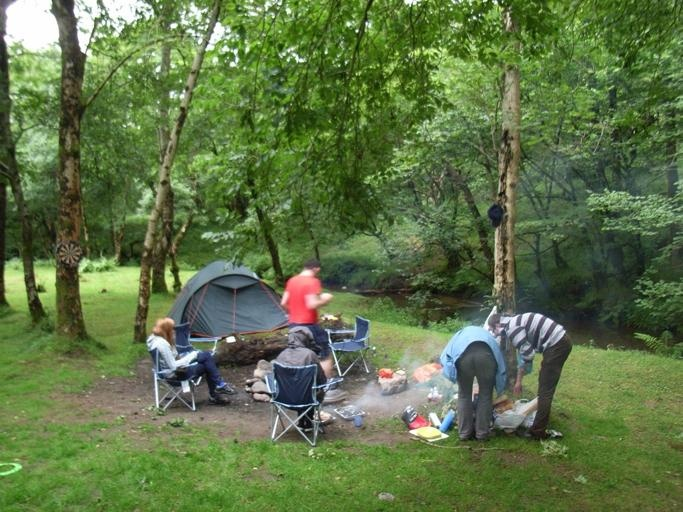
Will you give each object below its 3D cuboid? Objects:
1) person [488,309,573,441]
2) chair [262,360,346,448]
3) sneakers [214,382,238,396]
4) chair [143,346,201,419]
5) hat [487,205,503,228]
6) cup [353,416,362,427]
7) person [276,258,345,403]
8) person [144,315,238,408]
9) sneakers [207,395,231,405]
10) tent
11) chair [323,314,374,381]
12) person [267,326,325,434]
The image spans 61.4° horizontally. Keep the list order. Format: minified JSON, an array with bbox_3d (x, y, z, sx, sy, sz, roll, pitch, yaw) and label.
[{"bbox_3d":[3.023,1.872,9.355,1.175,1.961,0.654,8,15,25],"label":"person"},{"bbox_3d":[-0.745,2.406,9.611,1.014,1.398,0.929,4,14,7],"label":"chair"},{"bbox_3d":[-2.168,2.549,11.045,0.501,0.235,0.180,6,0,-17],"label":"sneakers"},{"bbox_3d":[-3.121,2.303,10.720,0.838,1.100,0.867,2,-3,-7],"label":"chair"},{"bbox_3d":[2.841,-0.753,10.650,0.305,0.463,0.173,2,14,0],"label":"hat"},{"bbox_3d":[0.281,2.895,10.079,0.151,0.151,0.145,1,-3,0],"label":"cup"},{"bbox_3d":[-0.584,1.381,10.913,1.084,2.520,0.912,1,9,10],"label":"person"},{"bbox_3d":[-2.758,1.998,10.735,1.552,1.764,0.802,-5,3,-5],"label":"person"},{"bbox_3d":[-2.312,2.739,10.925,0.384,0.177,0.143,2,1,-10],"label":"sneakers"},{"bbox_3d":[-2.846,1.141,14.827,2.342,1.174,2.152,0,3,-19],"label":"tent"},{"bbox_3d":[0.167,1.977,12.703,0.954,1.198,0.974,2,11,15],"label":"chair"},{"bbox_3d":[-0.737,2.045,9.971,0.933,1.837,0.815,0,14,5],"label":"person"}]
